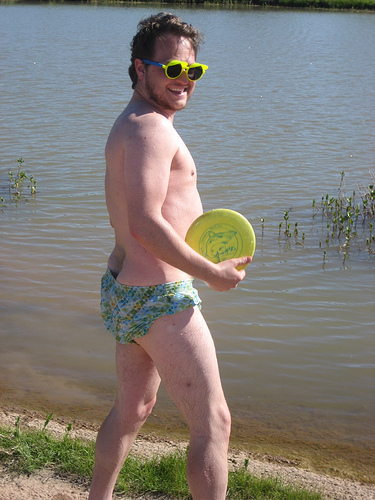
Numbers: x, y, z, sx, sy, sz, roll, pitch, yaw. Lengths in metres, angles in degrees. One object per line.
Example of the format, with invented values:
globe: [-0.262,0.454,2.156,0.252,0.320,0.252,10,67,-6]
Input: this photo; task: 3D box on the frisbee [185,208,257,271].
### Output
frisbee: [0.146,-0.027,2.825,0.324,0.285,0.071,25,-3,35]

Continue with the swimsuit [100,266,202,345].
swimsuit: [-0.175,0.244,2.696,0.298,0.216,0.381,-12,-17,12]

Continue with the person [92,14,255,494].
person: [-0.064,0.130,2.867,0.651,2.289,1.039,4,6,-8]
